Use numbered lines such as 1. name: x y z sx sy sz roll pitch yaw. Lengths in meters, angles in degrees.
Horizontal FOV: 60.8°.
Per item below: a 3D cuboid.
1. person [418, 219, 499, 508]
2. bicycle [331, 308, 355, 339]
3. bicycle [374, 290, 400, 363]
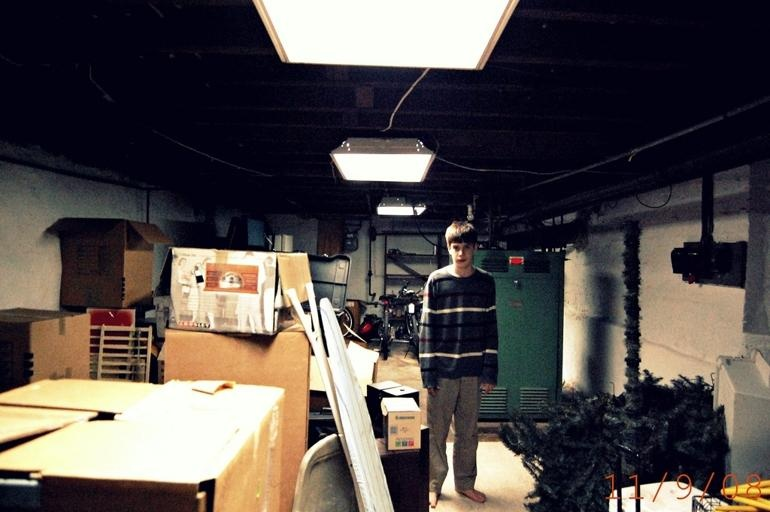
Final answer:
1. person: 0.584 0.847 5.183 0.572 2.212 0.408 6 -7 -34
2. bicycle: -0.370 0.664 6.628 0.118 0.359 0.355 -8 -4 -17
3. bicycle: 0.007 1.155 10.073 0.645 0.848 1.410 2 -20 0
